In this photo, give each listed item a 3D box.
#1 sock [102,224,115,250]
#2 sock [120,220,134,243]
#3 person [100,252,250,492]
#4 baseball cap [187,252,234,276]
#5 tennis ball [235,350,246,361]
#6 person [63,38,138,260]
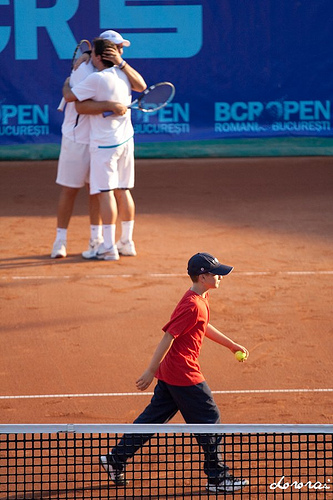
[{"bbox_3d":[-0.612,-0.141,6.153,0.125,0.229,0.151,3,1,-9],"label":"sock"},{"bbox_3d":[-0.443,-0.202,6.492,0.128,0.223,0.227,3,1,-6],"label":"sock"},{"bbox_3d":[0.055,0.524,2.559,0.650,0.963,0.641,3,1,5],"label":"person"},{"bbox_3d":[0.203,0.064,2.658,0.171,0.073,0.099,2,8,4],"label":"baseball cap"},{"bbox_3d":[0.334,0.496,2.769,0.053,0.051,0.051,2,4,0],"label":"tennis ball"},{"bbox_3d":[-0.652,-1.003,6.508,0.789,2.014,1.537,3,1,-2],"label":"person"}]
